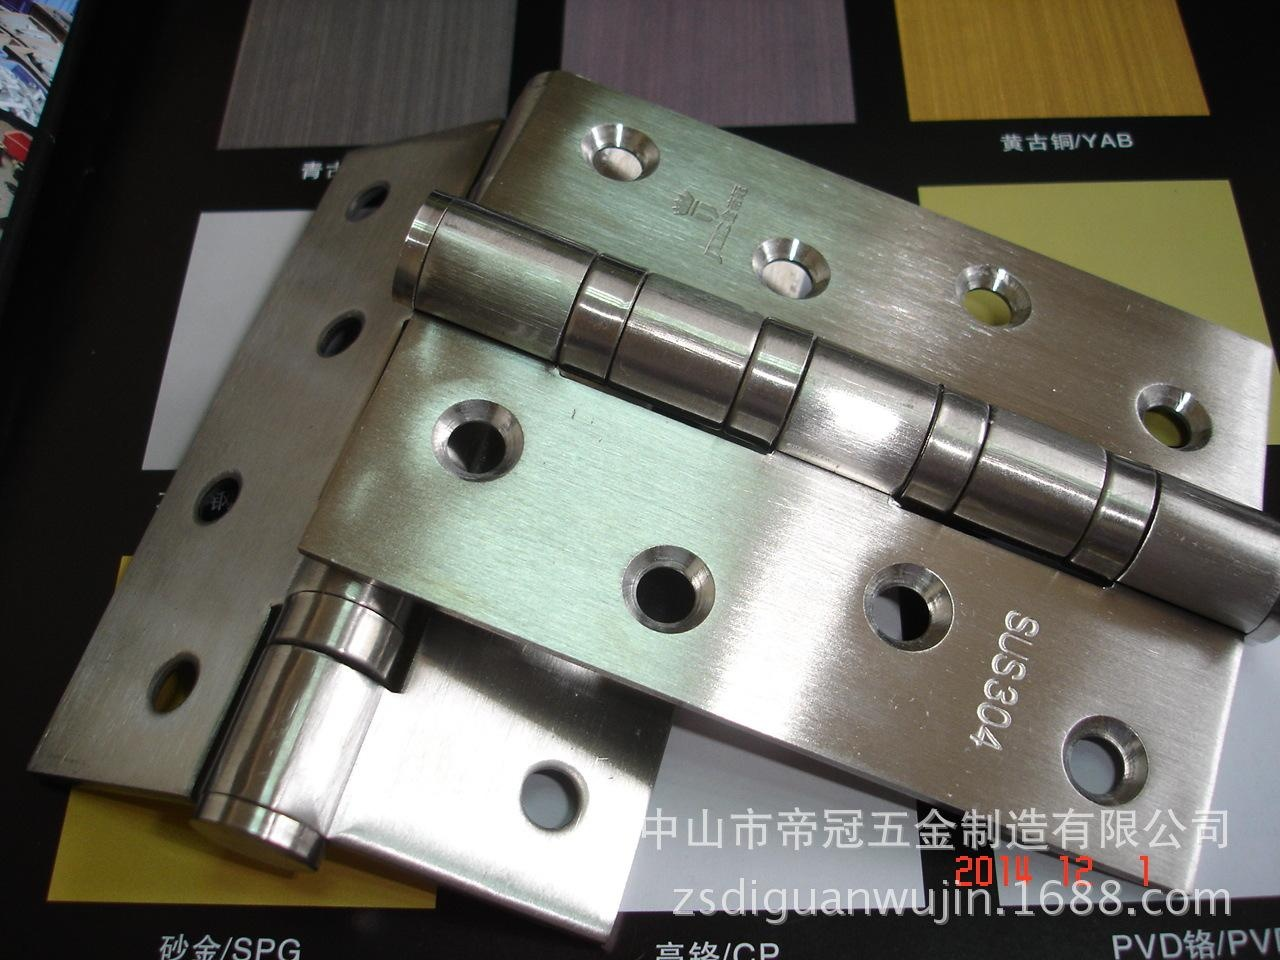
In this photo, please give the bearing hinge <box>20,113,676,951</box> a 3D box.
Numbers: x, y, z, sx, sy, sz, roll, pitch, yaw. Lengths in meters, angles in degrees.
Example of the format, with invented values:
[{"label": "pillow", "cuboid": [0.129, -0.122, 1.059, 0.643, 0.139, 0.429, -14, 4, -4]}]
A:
[{"label": "bearing hinge", "cuboid": [-0.230, 0.062, 1.057, 0.478, 0.673, 0.176, 20, -21, -1]}]
